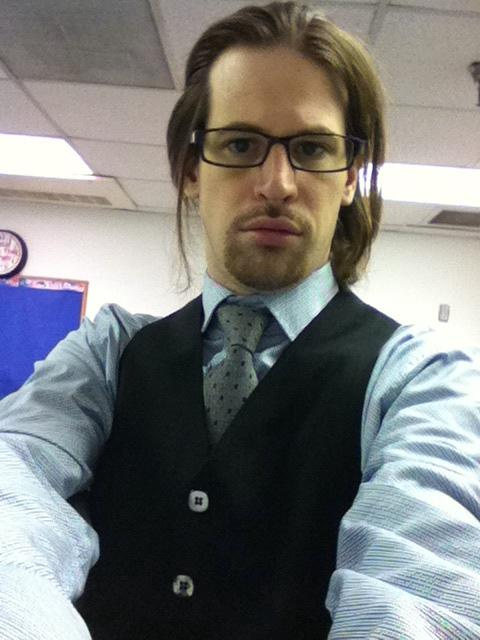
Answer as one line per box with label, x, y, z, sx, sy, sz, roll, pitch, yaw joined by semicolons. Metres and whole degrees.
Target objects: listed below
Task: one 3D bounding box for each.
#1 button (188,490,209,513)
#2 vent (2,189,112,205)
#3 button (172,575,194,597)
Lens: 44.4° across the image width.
button;-0.051;0.223;0.723;0.029;0.025;0.009;-5;-12;11
vent;-1.228;-0.821;3.923;0.745;0.019;0.210;6;-5;7
button;-0.068;0.317;0.704;0.023;0.024;0.007;-26;-31;8
